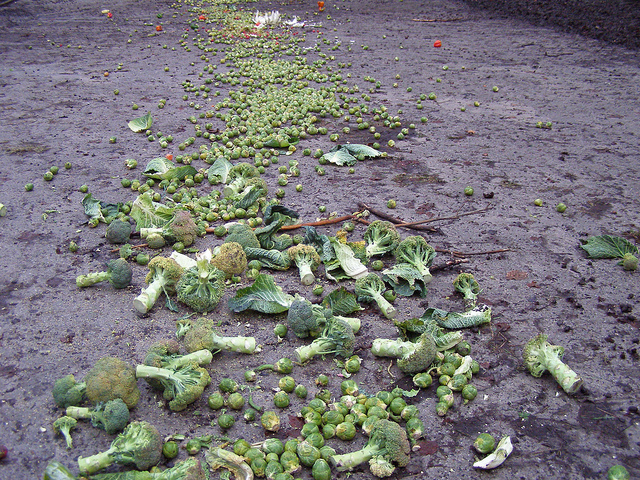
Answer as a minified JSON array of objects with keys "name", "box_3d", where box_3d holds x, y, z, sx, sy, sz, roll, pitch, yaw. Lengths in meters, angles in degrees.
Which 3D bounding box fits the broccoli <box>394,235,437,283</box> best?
[{"name":"broccoli","box_3d":[1.275,0.207,7.013,0.667,0.439,0.403,34,46,31]}]

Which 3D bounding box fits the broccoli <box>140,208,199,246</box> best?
[{"name":"broccoli","box_3d":[-2.135,-0.132,7.400,0.810,0.443,0.533,-11,13,-28]}]

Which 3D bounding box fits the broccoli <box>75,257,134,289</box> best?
[{"name":"broccoli","box_3d":[-2.681,0.451,6.792,0.654,0.305,0.332,-11,71,-2]}]

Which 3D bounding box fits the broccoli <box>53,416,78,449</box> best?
[{"name":"broccoli","box_3d":[-2.613,1.968,5.470,0.232,0.215,0.267,-6,40,-14]}]

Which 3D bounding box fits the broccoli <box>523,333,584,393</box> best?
[{"name":"broccoli","box_3d":[2.541,1.339,5.950,0.517,0.339,0.644,-25,31,-11]}]

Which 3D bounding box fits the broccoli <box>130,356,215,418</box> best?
[{"name":"broccoli","box_3d":[-1.546,1.581,5.752,0.840,0.380,0.565,-4,39,-13]}]

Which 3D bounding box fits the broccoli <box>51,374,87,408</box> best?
[{"name":"broccoli","box_3d":[-2.633,1.603,5.696,0.389,0.218,0.268,-2,10,-12]}]

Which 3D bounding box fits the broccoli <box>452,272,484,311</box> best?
[{"name":"broccoli","box_3d":[1.838,0.633,6.633,0.422,0.387,0.585,-1,26,10]}]

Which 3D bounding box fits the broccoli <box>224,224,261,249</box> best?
[{"name":"broccoli","box_3d":[-1.031,-0.056,7.207,0.355,0.170,0.381,-11,45,-20]}]

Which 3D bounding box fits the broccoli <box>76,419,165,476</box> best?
[{"name":"broccoli","box_3d":[-1.966,2.091,5.318,0.739,0.384,0.432,-12,55,-22]}]

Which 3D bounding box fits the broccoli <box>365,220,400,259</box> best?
[{"name":"broccoli","box_3d":[0.851,0.010,7.252,0.445,0.408,0.419,3,38,-4]}]

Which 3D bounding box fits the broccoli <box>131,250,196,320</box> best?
[{"name":"broccoli","box_3d":[-2.032,0.543,6.713,0.884,0.626,0.499,-44,13,-26]}]

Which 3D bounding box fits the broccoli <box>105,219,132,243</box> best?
[{"name":"broccoli","box_3d":[-2.837,-0.107,7.413,0.344,0.281,0.283,-4,72,35]}]

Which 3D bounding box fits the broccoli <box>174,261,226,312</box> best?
[{"name":"broccoli","box_3d":[-1.462,0.543,6.535,0.574,0.596,0.426,-5,40,-13]}]

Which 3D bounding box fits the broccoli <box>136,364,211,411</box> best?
[{"name":"broccoli","box_3d":[-1.603,1.617,5.854,0.658,0.326,0.450,18,49,11]}]

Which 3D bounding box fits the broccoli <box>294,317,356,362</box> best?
[{"name":"broccoli","box_3d":[0.029,1.160,6.229,0.655,0.449,0.356,-22,23,-8]}]

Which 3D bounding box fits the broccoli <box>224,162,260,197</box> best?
[{"name":"broccoli","box_3d":[-1.215,-0.952,8.407,0.496,0.352,0.566,5,38,-1]}]

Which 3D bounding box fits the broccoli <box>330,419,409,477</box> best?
[{"name":"broccoli","box_3d":[0.502,2.113,5.493,0.689,0.469,0.358,-19,14,2]}]

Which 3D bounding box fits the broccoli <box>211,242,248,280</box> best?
[{"name":"broccoli","box_3d":[-1.164,0.215,6.941,0.515,0.462,0.407,-5,26,-21]}]
